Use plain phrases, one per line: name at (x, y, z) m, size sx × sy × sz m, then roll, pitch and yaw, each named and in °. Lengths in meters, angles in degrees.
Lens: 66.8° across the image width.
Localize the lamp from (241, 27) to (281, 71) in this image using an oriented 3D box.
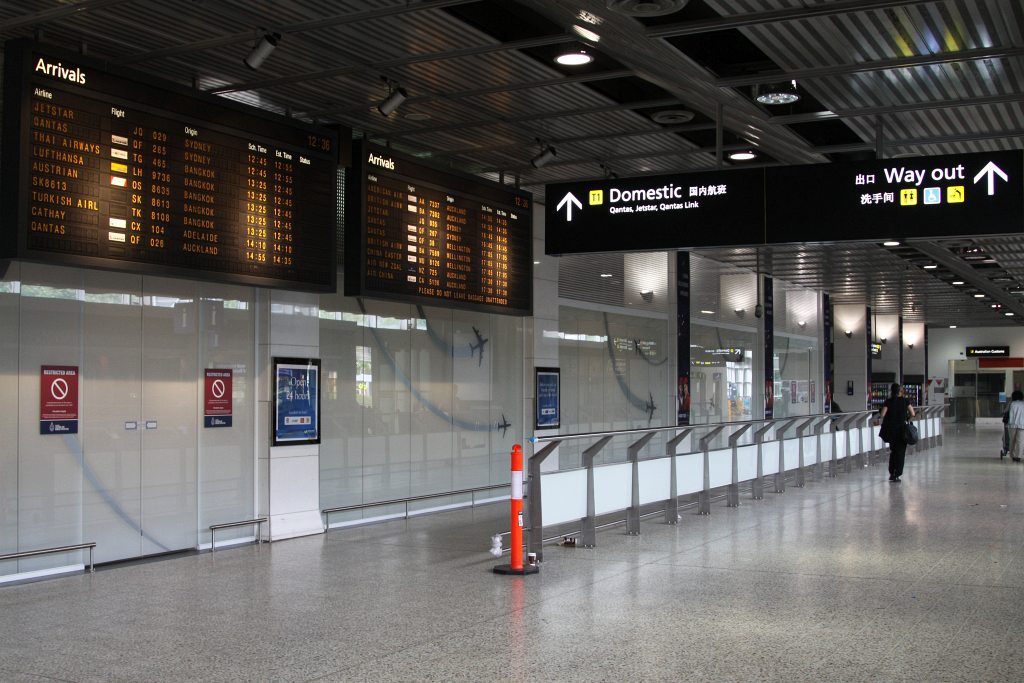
lamp at (-2.586, -3.024, 8.014) m, size 0.496 × 0.272 × 0.230 m, roll -6°, pitch -4°, yaw 43°

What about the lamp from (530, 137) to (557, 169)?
lamp at (0.473, -2.860, 11.763) m, size 0.299 × 0.437 × 0.447 m, roll -27°, pitch 4°, yaw 3°
